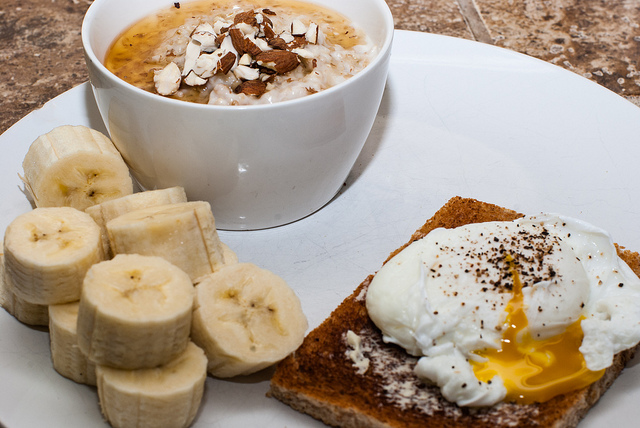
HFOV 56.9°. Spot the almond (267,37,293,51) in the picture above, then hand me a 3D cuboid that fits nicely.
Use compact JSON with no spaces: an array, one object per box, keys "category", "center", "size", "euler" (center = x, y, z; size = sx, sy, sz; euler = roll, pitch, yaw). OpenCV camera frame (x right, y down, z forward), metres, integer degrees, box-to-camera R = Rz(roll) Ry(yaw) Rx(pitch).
[{"category":"almond","center":[-0.161,-0.651,2.249],"size":[0.074,0.017,0.045],"euler":[9,71,-1]}]

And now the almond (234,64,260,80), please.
[{"category":"almond","center":[-0.273,-0.526,2.187],"size":[0.079,0.021,0.051],"euler":[16,76,-1]}]

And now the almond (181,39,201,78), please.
[{"category":"almond","center":[-0.484,-0.590,2.220],"size":[0.047,0.008,0.175],"euler":[12,55,4]}]

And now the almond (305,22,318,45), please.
[{"category":"almond","center":[-0.032,-0.706,2.293],"size":[0.052,0.023,0.077],"euler":[-18,46,-6]}]

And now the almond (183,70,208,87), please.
[{"category":"almond","center":[-0.459,-0.494,2.163],"size":[0.055,0.015,0.056],"euler":[-10,79,-13]}]

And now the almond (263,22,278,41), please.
[{"category":"almond","center":[-0.192,-0.707,2.293],"size":[0.054,0.016,0.060],"euler":[-40,95,-23]}]

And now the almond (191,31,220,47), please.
[{"category":"almond","center":[-0.433,-0.674,2.252],"size":[0.074,0.024,0.075],"euler":[15,41,10]}]

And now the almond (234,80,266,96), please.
[{"category":"almond","center":[-0.256,-0.465,2.162],"size":[0.094,0.021,0.061],"euler":[-7,56,0]}]

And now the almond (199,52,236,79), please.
[{"category":"almond","center":[-0.383,-0.539,2.173],"size":[0.073,0.032,0.120],"euler":[40,91,5]}]

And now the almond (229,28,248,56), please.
[{"category":"almond","center":[-0.313,-0.667,2.239],"size":[0.060,0.025,0.108],"euler":[-5,71,-10]}]
